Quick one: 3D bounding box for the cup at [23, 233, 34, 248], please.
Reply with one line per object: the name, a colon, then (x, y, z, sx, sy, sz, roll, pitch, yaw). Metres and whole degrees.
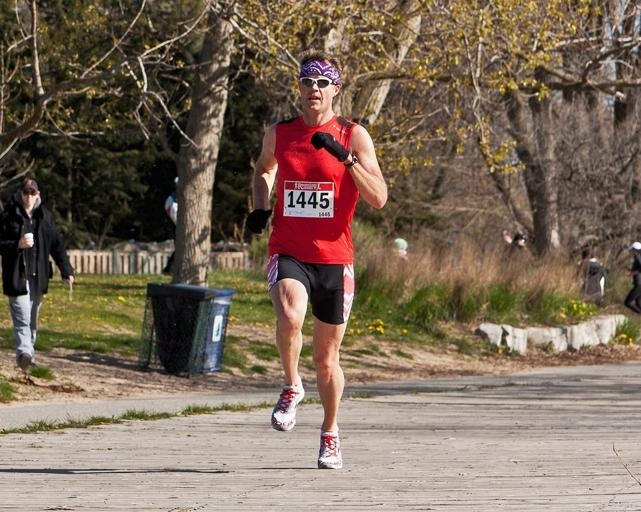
cup: (-4.533, -0.248, 24.714, 0.134, 0.211, 0.199, 2, -8, -6)

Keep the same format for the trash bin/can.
trash bin/can: (-2.305, 1.162, 26.619, 1.411, 1.808, 1.360, 1, 6, -43)

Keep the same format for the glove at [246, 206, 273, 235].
glove: (-0.802, -0.451, 20.808, 0.335, 0.316, 0.430, -1, 10, -7)

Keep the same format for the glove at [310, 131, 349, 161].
glove: (0.119, -1.416, 20.690, 0.503, 0.380, 0.224, 0, 10, 0)
